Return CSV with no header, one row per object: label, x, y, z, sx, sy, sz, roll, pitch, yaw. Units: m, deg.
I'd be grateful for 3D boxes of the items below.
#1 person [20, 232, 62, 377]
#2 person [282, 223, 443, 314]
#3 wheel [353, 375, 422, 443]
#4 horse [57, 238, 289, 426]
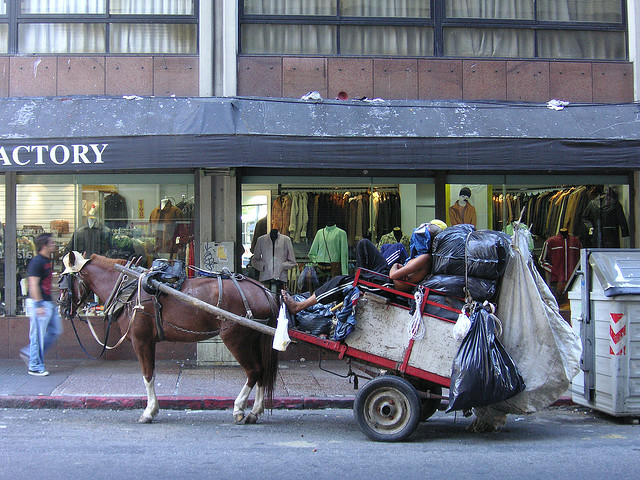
person,-5.107,1.181,17.909,0.702,1.819,0.594,-1,0,-17
person,0.634,0.461,15.155,2.347,1.218,0.989,-1,-12,1
wheel,1.018,2.508,14.597,0.713,0.734,0.288,-28,-4,5
horse,-2.346,1.546,15.809,3.444,2.724,0.800,-1,0,10
